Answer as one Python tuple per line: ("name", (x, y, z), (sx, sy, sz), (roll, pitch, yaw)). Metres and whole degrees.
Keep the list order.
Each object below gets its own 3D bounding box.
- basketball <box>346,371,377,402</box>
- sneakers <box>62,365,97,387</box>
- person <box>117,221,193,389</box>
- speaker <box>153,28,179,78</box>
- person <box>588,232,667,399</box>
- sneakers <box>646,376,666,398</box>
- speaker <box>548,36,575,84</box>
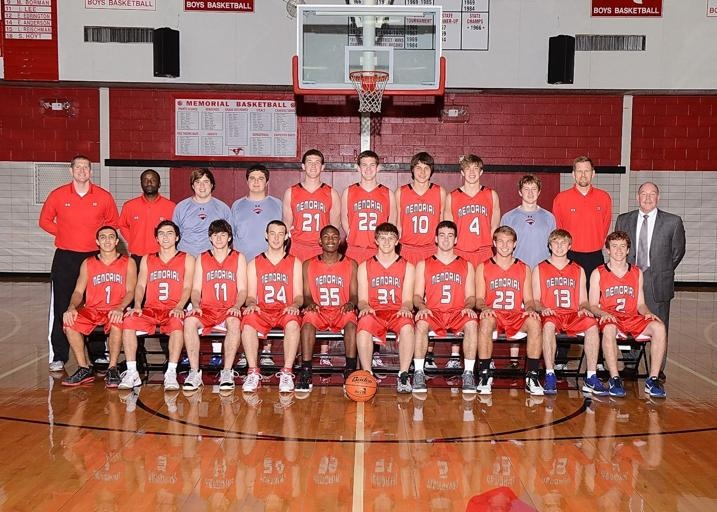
("basketball", (0.023, 1.179, 6.098), (0.282, 0.266, 0.267), (-1, 2, 1))
("sneakers", (-2.756, 1.202, 6.662), (0.352, 0.157, 0.133), (1, -4, -34))
("person", (-1.992, 0.470, 6.627), (0.642, 1.554, 0.741), (0, 12, -1))
("speaker", (-3.044, -3.230, 10.615), (0.398, 0.734, 0.224), (-4, 13, -21))
("person", (2.615, 0.566, 6.526), (0.745, 1.529, 0.817), (-11, 16, -43))
("sneakers", (2.847, 1.269, 6.490), (0.114, 0.125, 0.281), (-1, -6, 4))
("speaker", (3.189, -3.113, 10.624), (0.384, 0.723, 0.295), (3, 12, 14))
